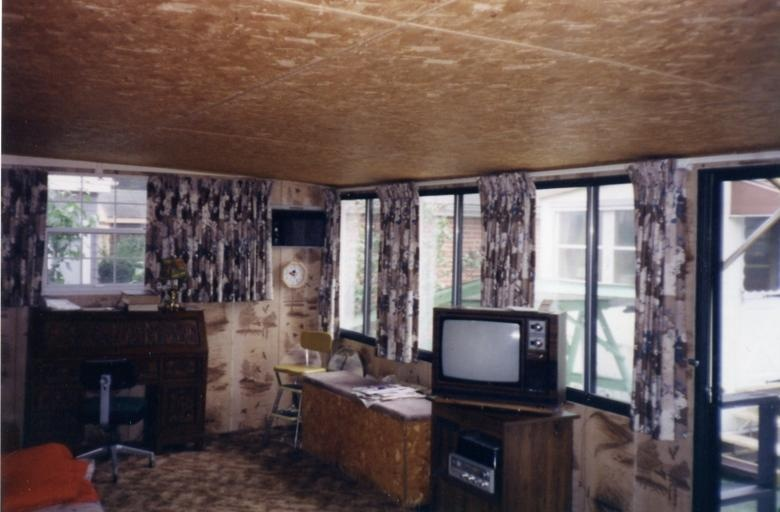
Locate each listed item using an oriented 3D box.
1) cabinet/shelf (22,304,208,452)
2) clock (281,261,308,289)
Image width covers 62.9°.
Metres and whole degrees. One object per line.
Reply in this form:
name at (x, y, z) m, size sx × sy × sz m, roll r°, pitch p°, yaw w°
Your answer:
cabinet/shelf at (-2.875, 1.258, 6.581) m, size 1.752 × 1.350 × 0.594 m, roll 1°, pitch -4°, yaw -27°
clock at (-1.215, 0.242, 8.112) m, size 0.335 × 0.354 × 0.046 m, roll -6°, pitch 8°, yaw -29°
